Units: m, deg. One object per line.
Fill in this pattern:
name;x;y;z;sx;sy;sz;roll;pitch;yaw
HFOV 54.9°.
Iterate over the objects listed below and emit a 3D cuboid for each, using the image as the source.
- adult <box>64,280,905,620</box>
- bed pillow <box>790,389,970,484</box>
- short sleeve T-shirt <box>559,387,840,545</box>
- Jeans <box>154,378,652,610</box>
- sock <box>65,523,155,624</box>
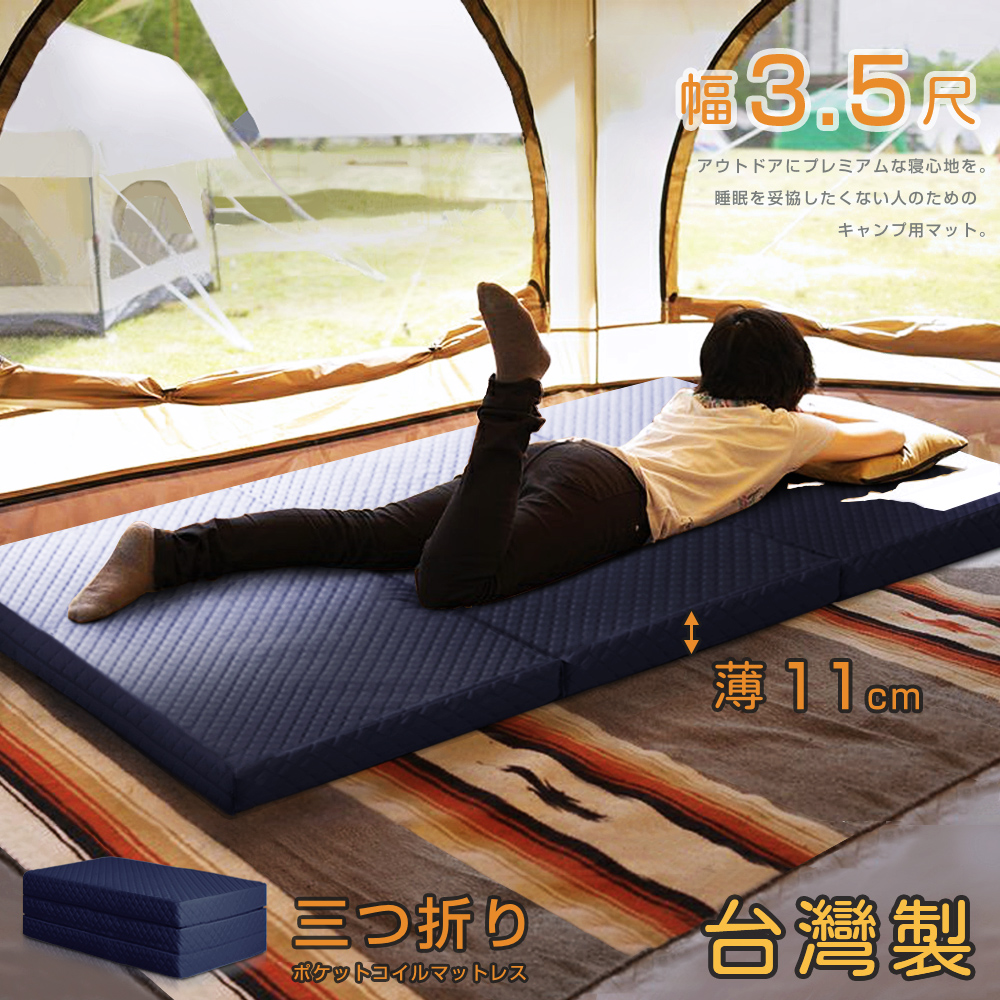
adult;0.143;-0.129;2.390;2.162;0.625;0.584;-9;18;-29
bed pillow;1.126;-0.155;2.802;0.416;0.098;0.404;18;25;42
short sleeve T-shirt;0.549;-0.116;2.538;0.643;0.186;0.348;-17;27;-29
Jeans;-0.135;-0.047;2.133;1.019;0.357;0.525;-7;14;-28
sock;-0.873;0.172;2.167;0.247;0.077;0.104;-38;-7;-26
